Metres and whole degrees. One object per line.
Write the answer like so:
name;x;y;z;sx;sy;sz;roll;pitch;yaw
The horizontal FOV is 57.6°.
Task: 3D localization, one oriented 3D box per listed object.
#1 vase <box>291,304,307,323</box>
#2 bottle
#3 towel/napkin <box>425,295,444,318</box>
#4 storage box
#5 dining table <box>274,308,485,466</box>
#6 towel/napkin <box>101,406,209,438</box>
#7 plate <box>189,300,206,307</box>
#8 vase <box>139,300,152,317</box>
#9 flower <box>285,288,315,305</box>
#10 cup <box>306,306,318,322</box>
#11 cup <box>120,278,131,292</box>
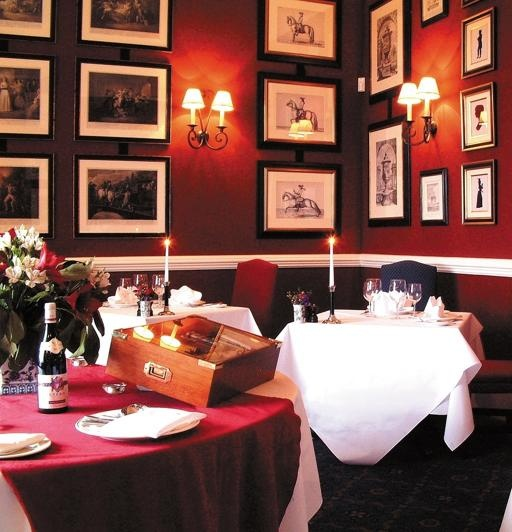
vase;0.266;0.294;2.890;0.085;0.109;0.086;0;0;23
bottle;-0.483;0.245;1.119;0.064;0.227;0.048;1;0;-26
towel/napkin;1.122;0.269;2.884;0.099;0.148;0.137;0;-5;1
storage box;-0.159;0.262;1.320;0.383;0.211;0.360;2;1;28
dining table;0.819;0.527;2.981;0.905;0.626;1.048;3;10;19
towel/napkin;-0.215;0.326;0.966;0.173;0.028;0.182;2;1;20
plate;-0.440;0.292;3.653;0.101;0.044;0.332;2;1;5
vase;-0.685;0.270;2.921;0.083;0.106;0.085;-2;4;-29
flower;0.366;0.265;4.040;0.227;0.160;0.240;1;-1;-9
cup;0.343;0.304;2.898;0.079;0.101;0.085;-2;2;0
cup;-0.884;0.121;3.209;0.102;0.112;0.109;0;3;0
